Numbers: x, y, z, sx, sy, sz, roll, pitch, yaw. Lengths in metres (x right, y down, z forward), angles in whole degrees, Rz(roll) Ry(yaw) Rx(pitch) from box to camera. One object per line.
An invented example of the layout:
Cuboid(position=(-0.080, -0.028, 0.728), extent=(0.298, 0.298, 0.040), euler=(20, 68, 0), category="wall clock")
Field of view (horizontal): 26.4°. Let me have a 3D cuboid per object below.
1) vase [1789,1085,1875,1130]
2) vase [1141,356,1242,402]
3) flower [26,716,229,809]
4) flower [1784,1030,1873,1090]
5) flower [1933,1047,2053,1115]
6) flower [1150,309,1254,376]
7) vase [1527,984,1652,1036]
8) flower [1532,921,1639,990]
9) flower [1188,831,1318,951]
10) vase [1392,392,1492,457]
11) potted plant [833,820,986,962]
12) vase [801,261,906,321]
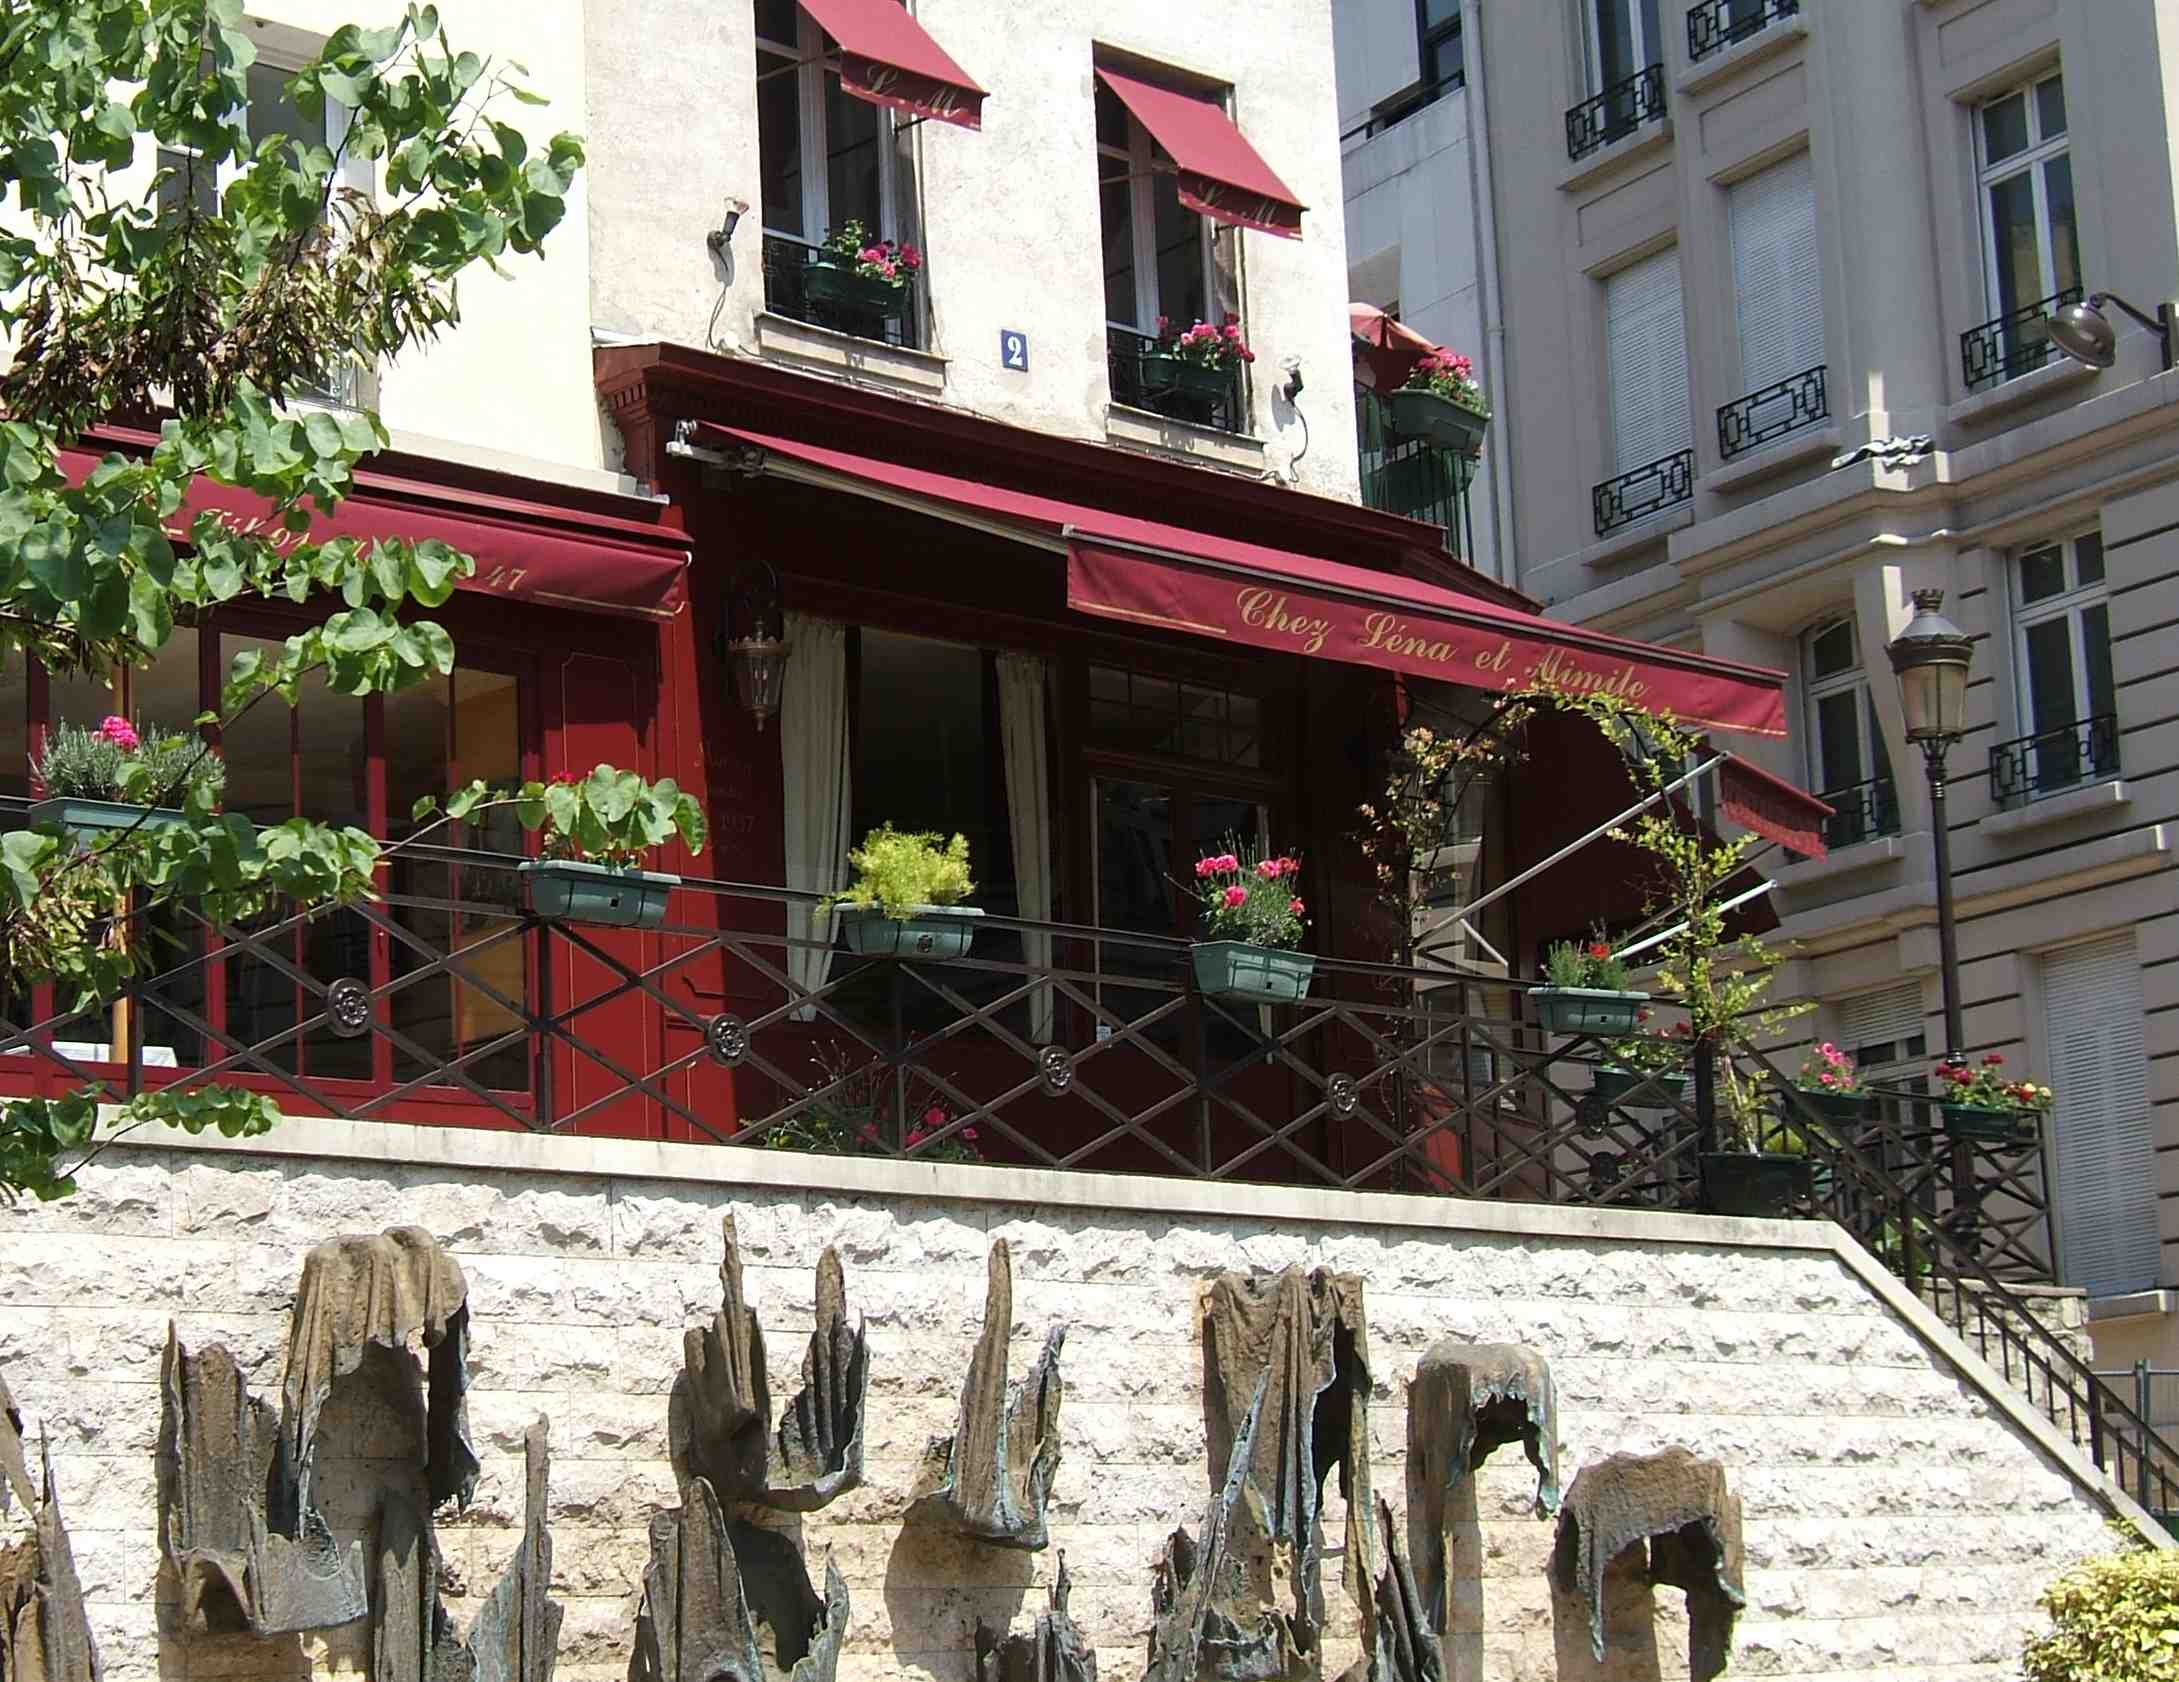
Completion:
Cuboid(position=(4.256, 1.558, 26.580), extent=(0.387, 0.157, 0.329), euler=(0, -4, 4), category="vase")
Cuboid(position=(0.641, -2.757, 27.589), extent=(0.733, 0.265, 0.126), euler=(7, -11, -38), category="vase")
Cuboid(position=(-4.277, -0.190, 20.609), extent=(0.799, 0.562, 0.878), euler=(4, -9, -24), category="flower")
Cuboid(position=(4.872, 1.465, 30.369), extent=(0.364, 0.406, 0.511), euler=(4, -3, -2), category="flower")
Cuboid(position=(5.377, 1.505, 27.561), extent=(0.662, 0.404, 0.723), euler=(1, 8, -20), category="flower")
Cuboid(position=(0.666, -2.956, 27.683), extent=(0.395, 0.254, 0.338), euler=(3, 4, -35), category="flower")
Cuboid(position=(2.679, 0.942, 24.880), extent=(0.668, 0.272, 0.234), euler=(3, -10, -21), category="vase")
Cuboid(position=(2.671, 0.700, 25.180), extent=(0.450, 0.399, 0.500), euler=(2, 2, -13), category="flower")
Cuboid(position=(0.821, 0.340, 24.091), extent=(0.498, 0.776, 0.621), euler=(-1, -2, 23), category="flower")
Cuboid(position=(2.228, -2.666, 29.504), extent=(0.683, 0.380, 0.309), euler=(4, -10, -25), category="vase")
Cuboid(position=(-0.937, 0.247, 23.001), extent=(0.590, 0.641, 0.656), euler=(4, -12, -16), category="potted plant")
Cuboid(position=(-1.330, -3.055, 25.977), extent=(0.421, 0.181, 0.275), euler=(5, -6, -37), category="vase")
